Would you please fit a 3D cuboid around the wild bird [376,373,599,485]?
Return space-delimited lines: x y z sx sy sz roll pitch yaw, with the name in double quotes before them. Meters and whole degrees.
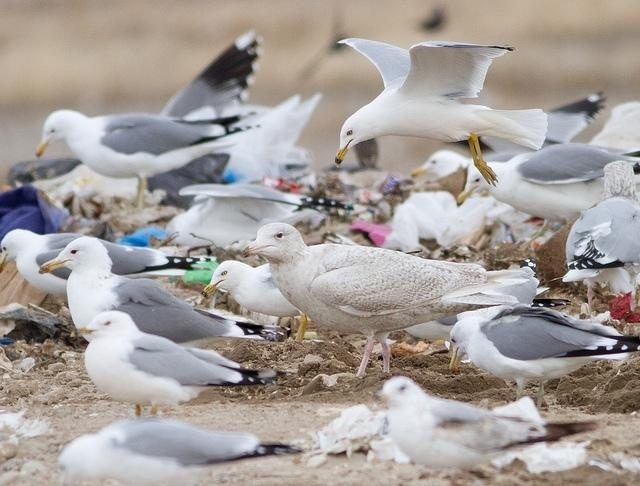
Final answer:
"wild bird" 0.796 1.067 5.532 1.587 0.621 0.459 -6 21 9
